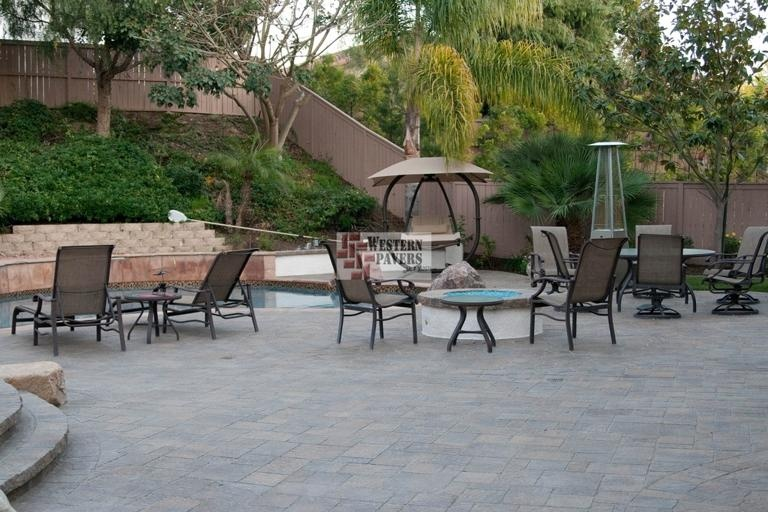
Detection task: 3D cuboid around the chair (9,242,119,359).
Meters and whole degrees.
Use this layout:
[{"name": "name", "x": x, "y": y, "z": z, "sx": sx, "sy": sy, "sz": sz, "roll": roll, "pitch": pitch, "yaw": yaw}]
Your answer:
[{"name": "chair", "x": -4.313, "y": 0.536, "z": 9.253, "sx": 1.036, "sy": 1.113, "sz": 2.101, "roll": -1, "pitch": 2, "yaw": -44}]

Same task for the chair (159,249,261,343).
[{"name": "chair", "x": -2.379, "y": 0.481, "z": 10.183, "sx": 0.914, "sy": 0.789, "sz": 1.081, "roll": 3, "pitch": -21, "yaw": -8}]

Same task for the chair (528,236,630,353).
[{"name": "chair", "x": 2.525, "y": 0.452, "z": 9.004, "sx": 1.148, "sy": 1.320, "sz": 1.536, "roll": -1, "pitch": 0, "yaw": 3}]

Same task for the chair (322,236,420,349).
[{"name": "chair", "x": -0.079, "y": 0.495, "z": 9.483, "sx": 1.157, "sy": 1.281, "sz": 2.088, "roll": -1, "pitch": 0, "yaw": 3}]

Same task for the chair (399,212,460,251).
[{"name": "chair", "x": 1.361, "y": -0.638, "z": 17.247, "sx": 0.988, "sy": 0.590, "sz": 1.218, "roll": -1, "pitch": -6, "yaw": 4}]
